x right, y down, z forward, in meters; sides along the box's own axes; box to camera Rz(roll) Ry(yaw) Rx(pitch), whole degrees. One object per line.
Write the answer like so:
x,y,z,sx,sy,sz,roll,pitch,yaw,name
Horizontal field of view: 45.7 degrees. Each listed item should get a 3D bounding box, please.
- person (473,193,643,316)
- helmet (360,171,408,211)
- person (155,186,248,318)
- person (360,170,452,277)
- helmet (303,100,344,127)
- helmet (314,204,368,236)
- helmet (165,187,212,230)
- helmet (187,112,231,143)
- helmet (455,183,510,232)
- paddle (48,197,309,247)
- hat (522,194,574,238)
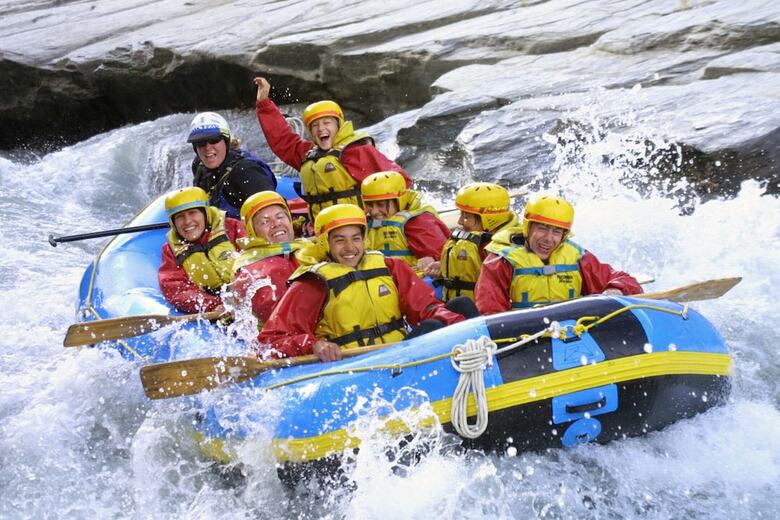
1.335,0.020,8.173,1.698,1.011,1.219,-6,91,-17,person
-0.044,-0.722,8.633,0.321,0.289,0.397,11,28,31,helmet
-1.740,-0.123,8.446,0.924,0.478,1.129,-15,83,-14,person
0.146,-0.346,8.646,0.571,0.931,1.027,-28,37,-34,person
-0.639,-1.585,9.359,0.271,0.371,0.190,-23,90,36,helmet
-0.425,-0.400,7.718,0.344,0.274,0.255,-35,66,36,helmet
-1.857,-0.573,8.604,0.317,0.380,0.330,-21,65,6,helmet
-1.789,-1.384,9.326,0.314,0.457,0.229,-9,79,16,helmet
0.892,-0.510,8.356,0.520,0.386,0.379,-10,22,2,helmet
-2.141,-0.411,9.334,2.891,0.424,0.376,-6,41,-8,paddle
1.358,-0.422,7.930,0.323,0.370,0.323,15,95,-1,hat
